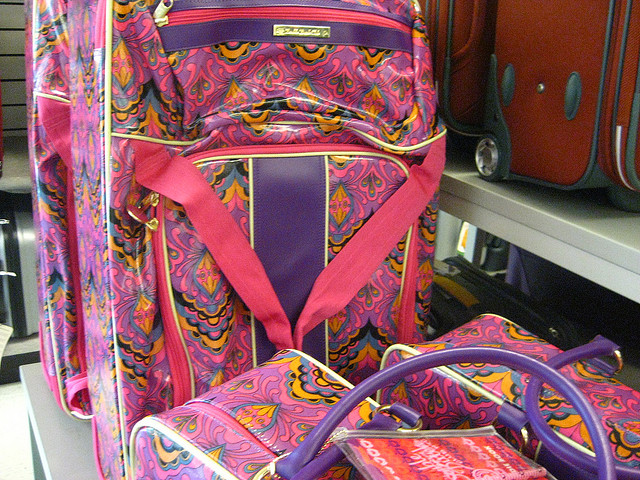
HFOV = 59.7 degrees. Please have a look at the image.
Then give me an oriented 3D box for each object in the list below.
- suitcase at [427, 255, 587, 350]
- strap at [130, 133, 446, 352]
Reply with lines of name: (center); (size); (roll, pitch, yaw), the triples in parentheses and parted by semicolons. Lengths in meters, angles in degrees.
suitcase: (0.344, 0.111, 1.075); (0.149, 0.098, 0.253); (-14, 45, -41)
strap: (-0.062, -0.085, 0.895); (0.380, 0.300, 0.303); (-9, 27, -29)
